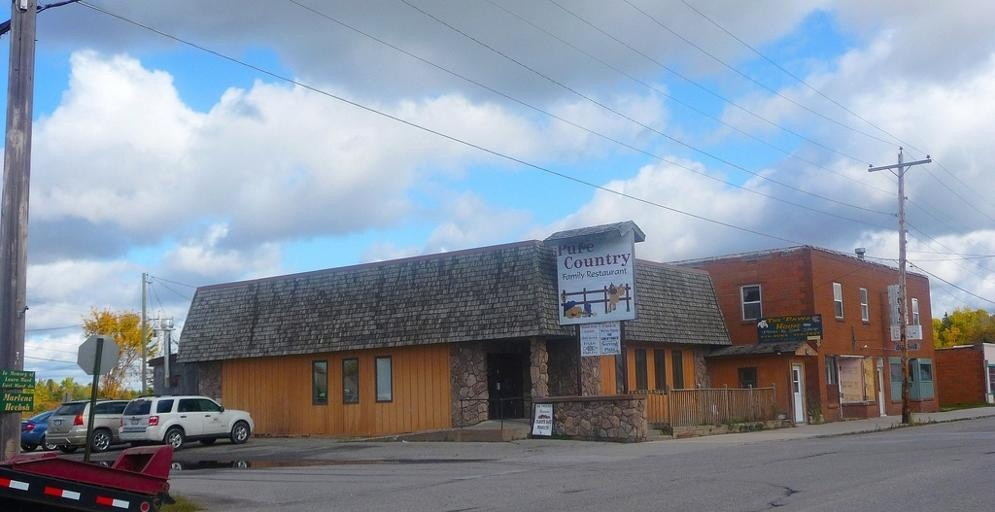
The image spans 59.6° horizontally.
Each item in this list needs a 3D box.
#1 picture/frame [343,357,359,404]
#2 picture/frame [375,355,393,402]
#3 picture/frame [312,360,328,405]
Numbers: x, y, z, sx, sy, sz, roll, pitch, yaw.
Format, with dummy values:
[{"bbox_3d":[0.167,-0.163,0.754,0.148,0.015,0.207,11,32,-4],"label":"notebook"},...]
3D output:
[{"bbox_3d":[-7.909,6.757,46.527,1.003,2.401,0.157,3,-7,-36],"label":"picture/frame"},{"bbox_3d":[-6.040,6.518,45.595,1.250,2.394,0.401,-11,-18,25],"label":"picture/frame"},{"bbox_3d":[-9.740,6.934,47.303,1.032,2.361,0.126,5,-12,-41],"label":"picture/frame"}]
